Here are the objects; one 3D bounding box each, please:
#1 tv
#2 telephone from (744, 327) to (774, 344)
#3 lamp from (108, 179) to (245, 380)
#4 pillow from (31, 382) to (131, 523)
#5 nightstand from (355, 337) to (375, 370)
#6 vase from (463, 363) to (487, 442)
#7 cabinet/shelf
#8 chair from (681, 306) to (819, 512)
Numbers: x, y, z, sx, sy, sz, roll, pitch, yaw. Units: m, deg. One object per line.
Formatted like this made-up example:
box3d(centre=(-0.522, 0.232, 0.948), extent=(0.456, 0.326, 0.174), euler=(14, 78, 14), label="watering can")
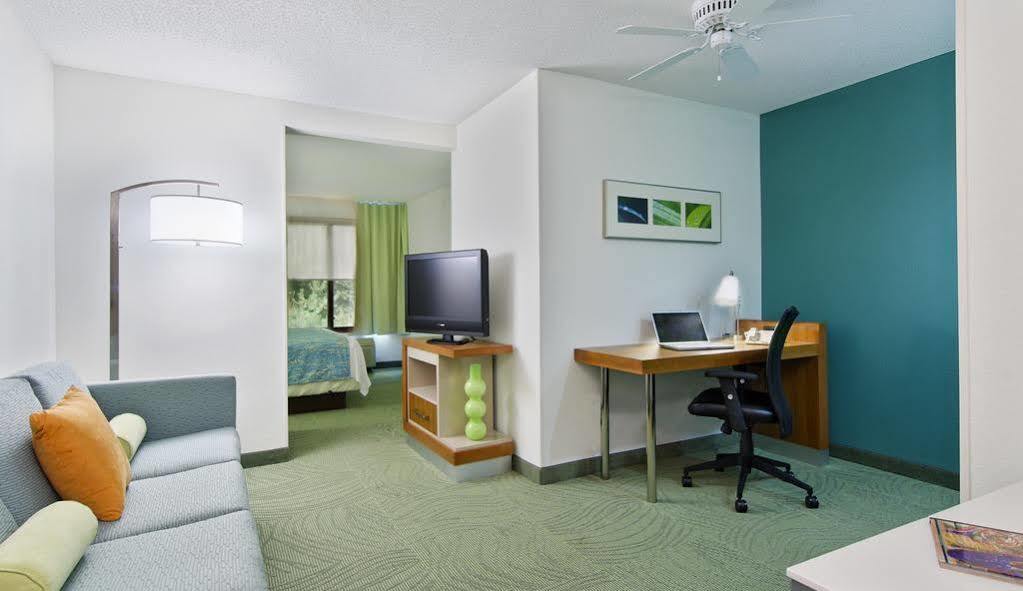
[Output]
box3d(centre=(-0.595, 0.008, 5.697), extent=(0.324, 0.833, 1.029), euler=(-4, 4, -40), label="tv")
box3d(centre=(2.230, 0.359, 5.541), extent=(0.220, 0.071, 0.161), euler=(-2, 2, -18), label="telephone")
box3d(centre=(-3.002, -0.151, 5.129), extent=(0.667, 1.667, 0.384), euler=(-3, 4, -28), label="lamp")
box3d(centre=(-2.601, 0.976, 3.702), extent=(0.423, 0.541, 0.807), euler=(-4, 3, -18), label="pillow")
box3d(centre=(-2.022, 0.813, 8.543), extent=(0.322, 0.359, 0.559), euler=(-2, 3, -24), label="nightstand")
box3d(centre=(-0.308, 0.926, 5.406), extent=(0.199, 0.657, 0.271), euler=(-1, 3, -5), label="vase")
box3d(centre=(-0.492, 0.989, 5.644), extent=(0.641, 1.134, 1.047), euler=(-3, 4, -32), label="cabinet/shelf")
box3d(centre=(2.015, 0.869, 5.047), extent=(0.968, 1.539, 1.013), euler=(2, 4, 44), label="chair")
